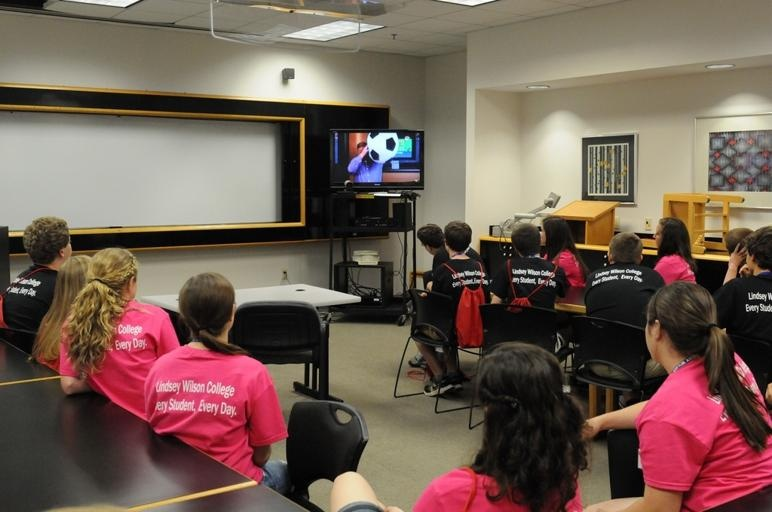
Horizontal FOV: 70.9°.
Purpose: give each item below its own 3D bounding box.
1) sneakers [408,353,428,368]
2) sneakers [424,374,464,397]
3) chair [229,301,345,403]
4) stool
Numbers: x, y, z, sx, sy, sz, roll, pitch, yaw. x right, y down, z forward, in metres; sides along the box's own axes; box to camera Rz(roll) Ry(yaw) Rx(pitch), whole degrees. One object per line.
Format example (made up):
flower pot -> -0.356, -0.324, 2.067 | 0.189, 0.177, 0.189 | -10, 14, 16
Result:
sneakers -> 0.349, 1.155, 5.944 | 0.230, 0.093, 0.112 | 1, -1, -24
sneakers -> 0.552, 1.218, 5.126 | 0.409, 0.195, 0.162 | -6, -1, 30
chair -> -0.750, 0.759, 4.468 | 0.785, 0.847, 0.965 | 1, 7, 1
stool -> 3.496, -0.373, 6.120 | 0.578, 0.626, 0.749 | -1, 4, -17
